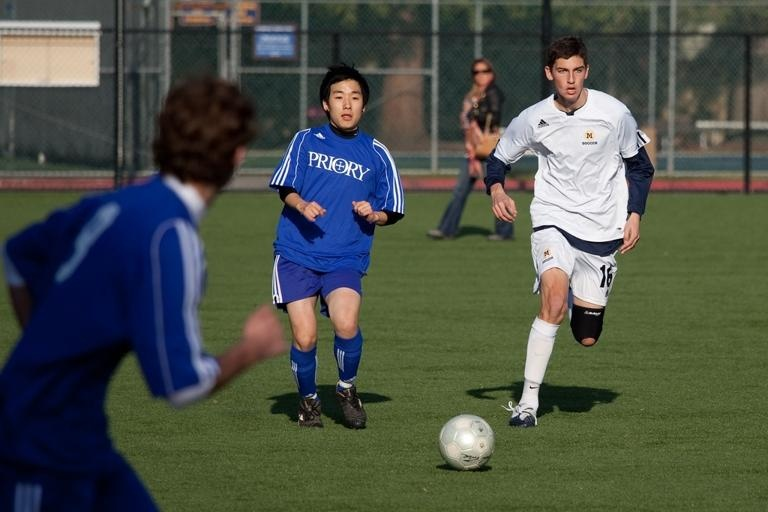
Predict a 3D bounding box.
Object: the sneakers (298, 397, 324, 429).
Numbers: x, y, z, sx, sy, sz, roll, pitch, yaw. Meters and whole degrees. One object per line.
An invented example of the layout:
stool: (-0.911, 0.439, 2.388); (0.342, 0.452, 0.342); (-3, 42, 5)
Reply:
sneakers: (-0.586, 1.266, 11.774); (0.202, 0.261, 0.547); (0, -2, -3)

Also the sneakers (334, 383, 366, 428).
sneakers: (-0.280, 1.193, 11.822); (0.155, 0.183, 0.439); (-7, 52, -24)

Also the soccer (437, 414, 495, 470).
soccer: (0.644, 1.423, 11.237); (0.416, 0.470, 0.427); (3, 25, -7)

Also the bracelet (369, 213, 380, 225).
bracelet: (-0.071, -0.296, 11.678); (0.097, 0.123, 0.185); (-1, 12, -1)

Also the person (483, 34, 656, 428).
person: (1.512, -0.229, 11.866); (1.317, 3.006, 0.955); (0, 11, 2)

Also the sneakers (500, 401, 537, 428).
sneakers: (1.094, 1.277, 11.761); (0.172, 0.169, 0.356); (0, 3, 1)
